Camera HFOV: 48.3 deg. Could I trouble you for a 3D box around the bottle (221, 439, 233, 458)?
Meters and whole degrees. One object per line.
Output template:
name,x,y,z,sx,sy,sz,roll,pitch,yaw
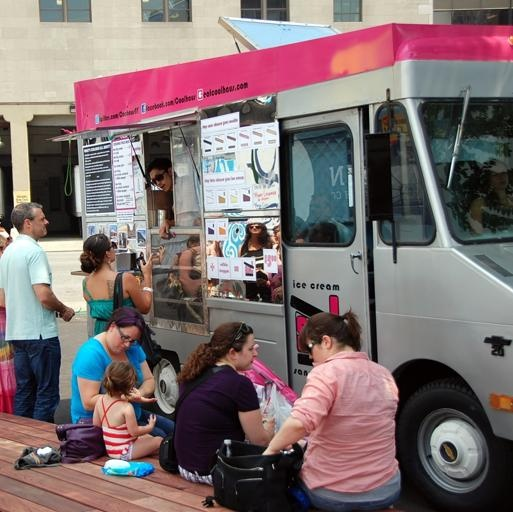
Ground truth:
bottle,-0.155,0.988,2.948,0.057,0.129,0.093,2,11,4

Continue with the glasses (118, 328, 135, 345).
glasses,-0.926,0.569,4.032,0.035,0.125,0.115,-32,-34,21

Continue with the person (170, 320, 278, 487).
person,-0.234,0.780,3.665,0.718,1.109,0.693,-4,9,-32

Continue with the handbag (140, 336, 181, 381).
handbag,-0.946,0.932,5.392,0.438,0.276,0.644,4,-10,-17

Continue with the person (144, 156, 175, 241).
person,-1.099,-0.619,6.405,0.266,0.905,0.806,0,-4,-37

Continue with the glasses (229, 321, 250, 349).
glasses,-0.097,0.459,3.345,0.109,0.034,0.113,-40,9,24

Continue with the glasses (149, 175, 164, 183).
glasses,-1.129,-0.873,6.475,0.116,0.048,0.088,-35,4,2
